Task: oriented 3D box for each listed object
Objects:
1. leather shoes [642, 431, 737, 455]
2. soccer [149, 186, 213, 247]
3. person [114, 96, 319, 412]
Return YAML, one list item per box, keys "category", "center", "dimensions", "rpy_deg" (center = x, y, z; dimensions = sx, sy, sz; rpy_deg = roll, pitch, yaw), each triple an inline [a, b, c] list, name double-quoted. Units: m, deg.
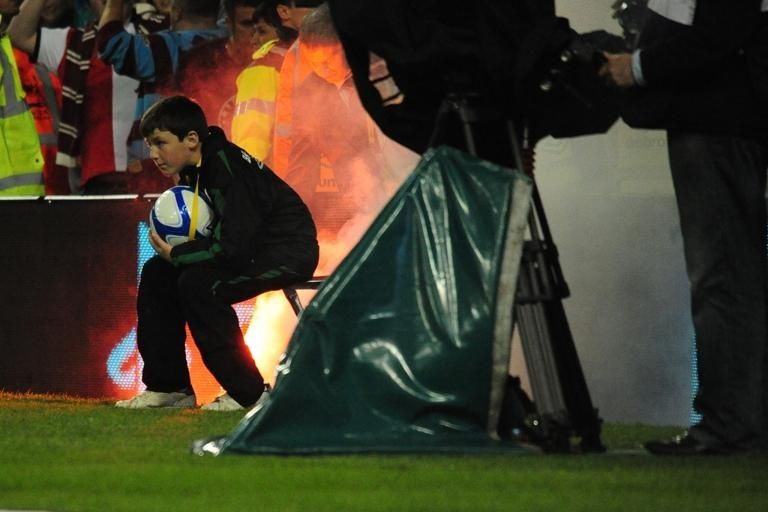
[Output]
- category: "leather shoes"
  center: [1.330, 0.841, 4.916]
  dimensions: [0.373, 0.137, 0.136]
  rpy_deg: [-4, -15, 8]
- category: "soccer"
  center: [-0.974, -0.191, 5.501]
  dimensions: [0.296, 0.279, 0.129]
  rpy_deg: [-3, 11, -16]
- category: "person"
  center: [-0.865, -0.010, 5.682]
  dimensions: [0.809, 1.698, 0.645]
  rpy_deg: [2, -4, -37]
